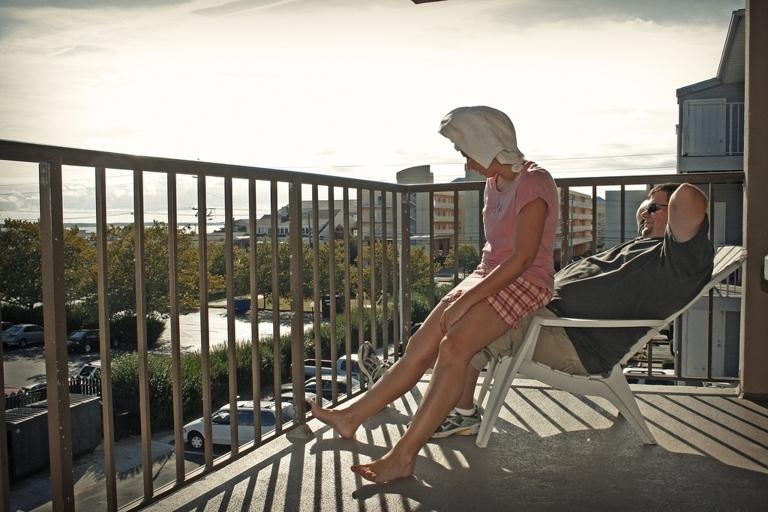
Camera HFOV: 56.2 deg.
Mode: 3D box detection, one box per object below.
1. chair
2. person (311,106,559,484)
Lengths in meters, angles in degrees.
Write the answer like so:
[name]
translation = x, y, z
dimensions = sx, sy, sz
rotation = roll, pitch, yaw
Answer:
[chair]
translation = 1.167, 0.389, 4.388
dimensions = 1.186, 1.206, 1.602
rotation = 28, -22, -36
[person]
translation = 0.425, 0.181, 4.138
dimensions = 1.267, 2.074, 0.484
rotation = -3, 3, -7
